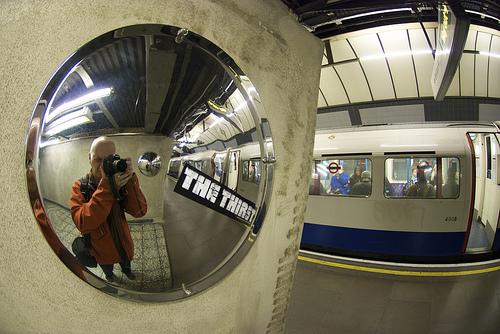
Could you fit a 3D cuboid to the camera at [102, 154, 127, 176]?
[{"bbox_3d":[-0.380,-0.005,0.825,0.061,0.043,0.057,-1,3,24],"label":"camera"}]
